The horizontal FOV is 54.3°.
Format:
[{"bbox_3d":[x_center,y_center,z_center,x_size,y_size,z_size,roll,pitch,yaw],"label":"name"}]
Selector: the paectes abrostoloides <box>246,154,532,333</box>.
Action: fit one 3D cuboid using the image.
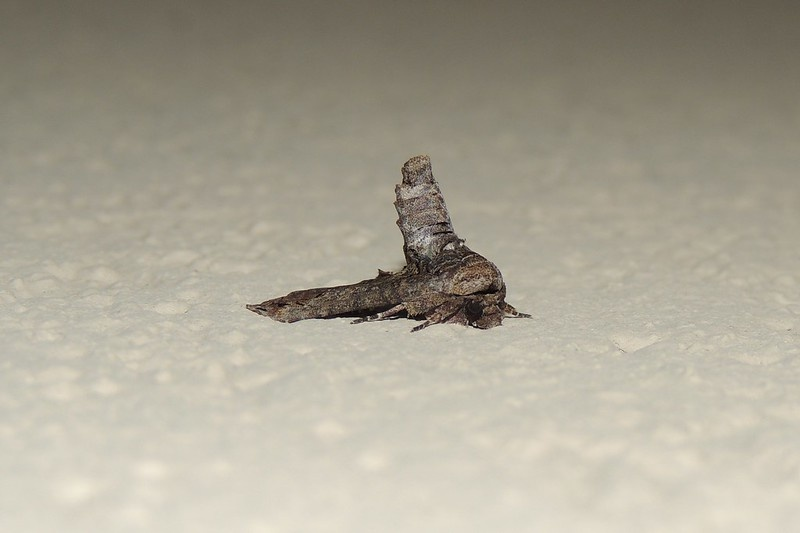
[{"bbox_3d":[-0.035,-0.084,3.459,1.071,0.770,0.279,-8,1,2],"label":"paectes abrostoloides"}]
